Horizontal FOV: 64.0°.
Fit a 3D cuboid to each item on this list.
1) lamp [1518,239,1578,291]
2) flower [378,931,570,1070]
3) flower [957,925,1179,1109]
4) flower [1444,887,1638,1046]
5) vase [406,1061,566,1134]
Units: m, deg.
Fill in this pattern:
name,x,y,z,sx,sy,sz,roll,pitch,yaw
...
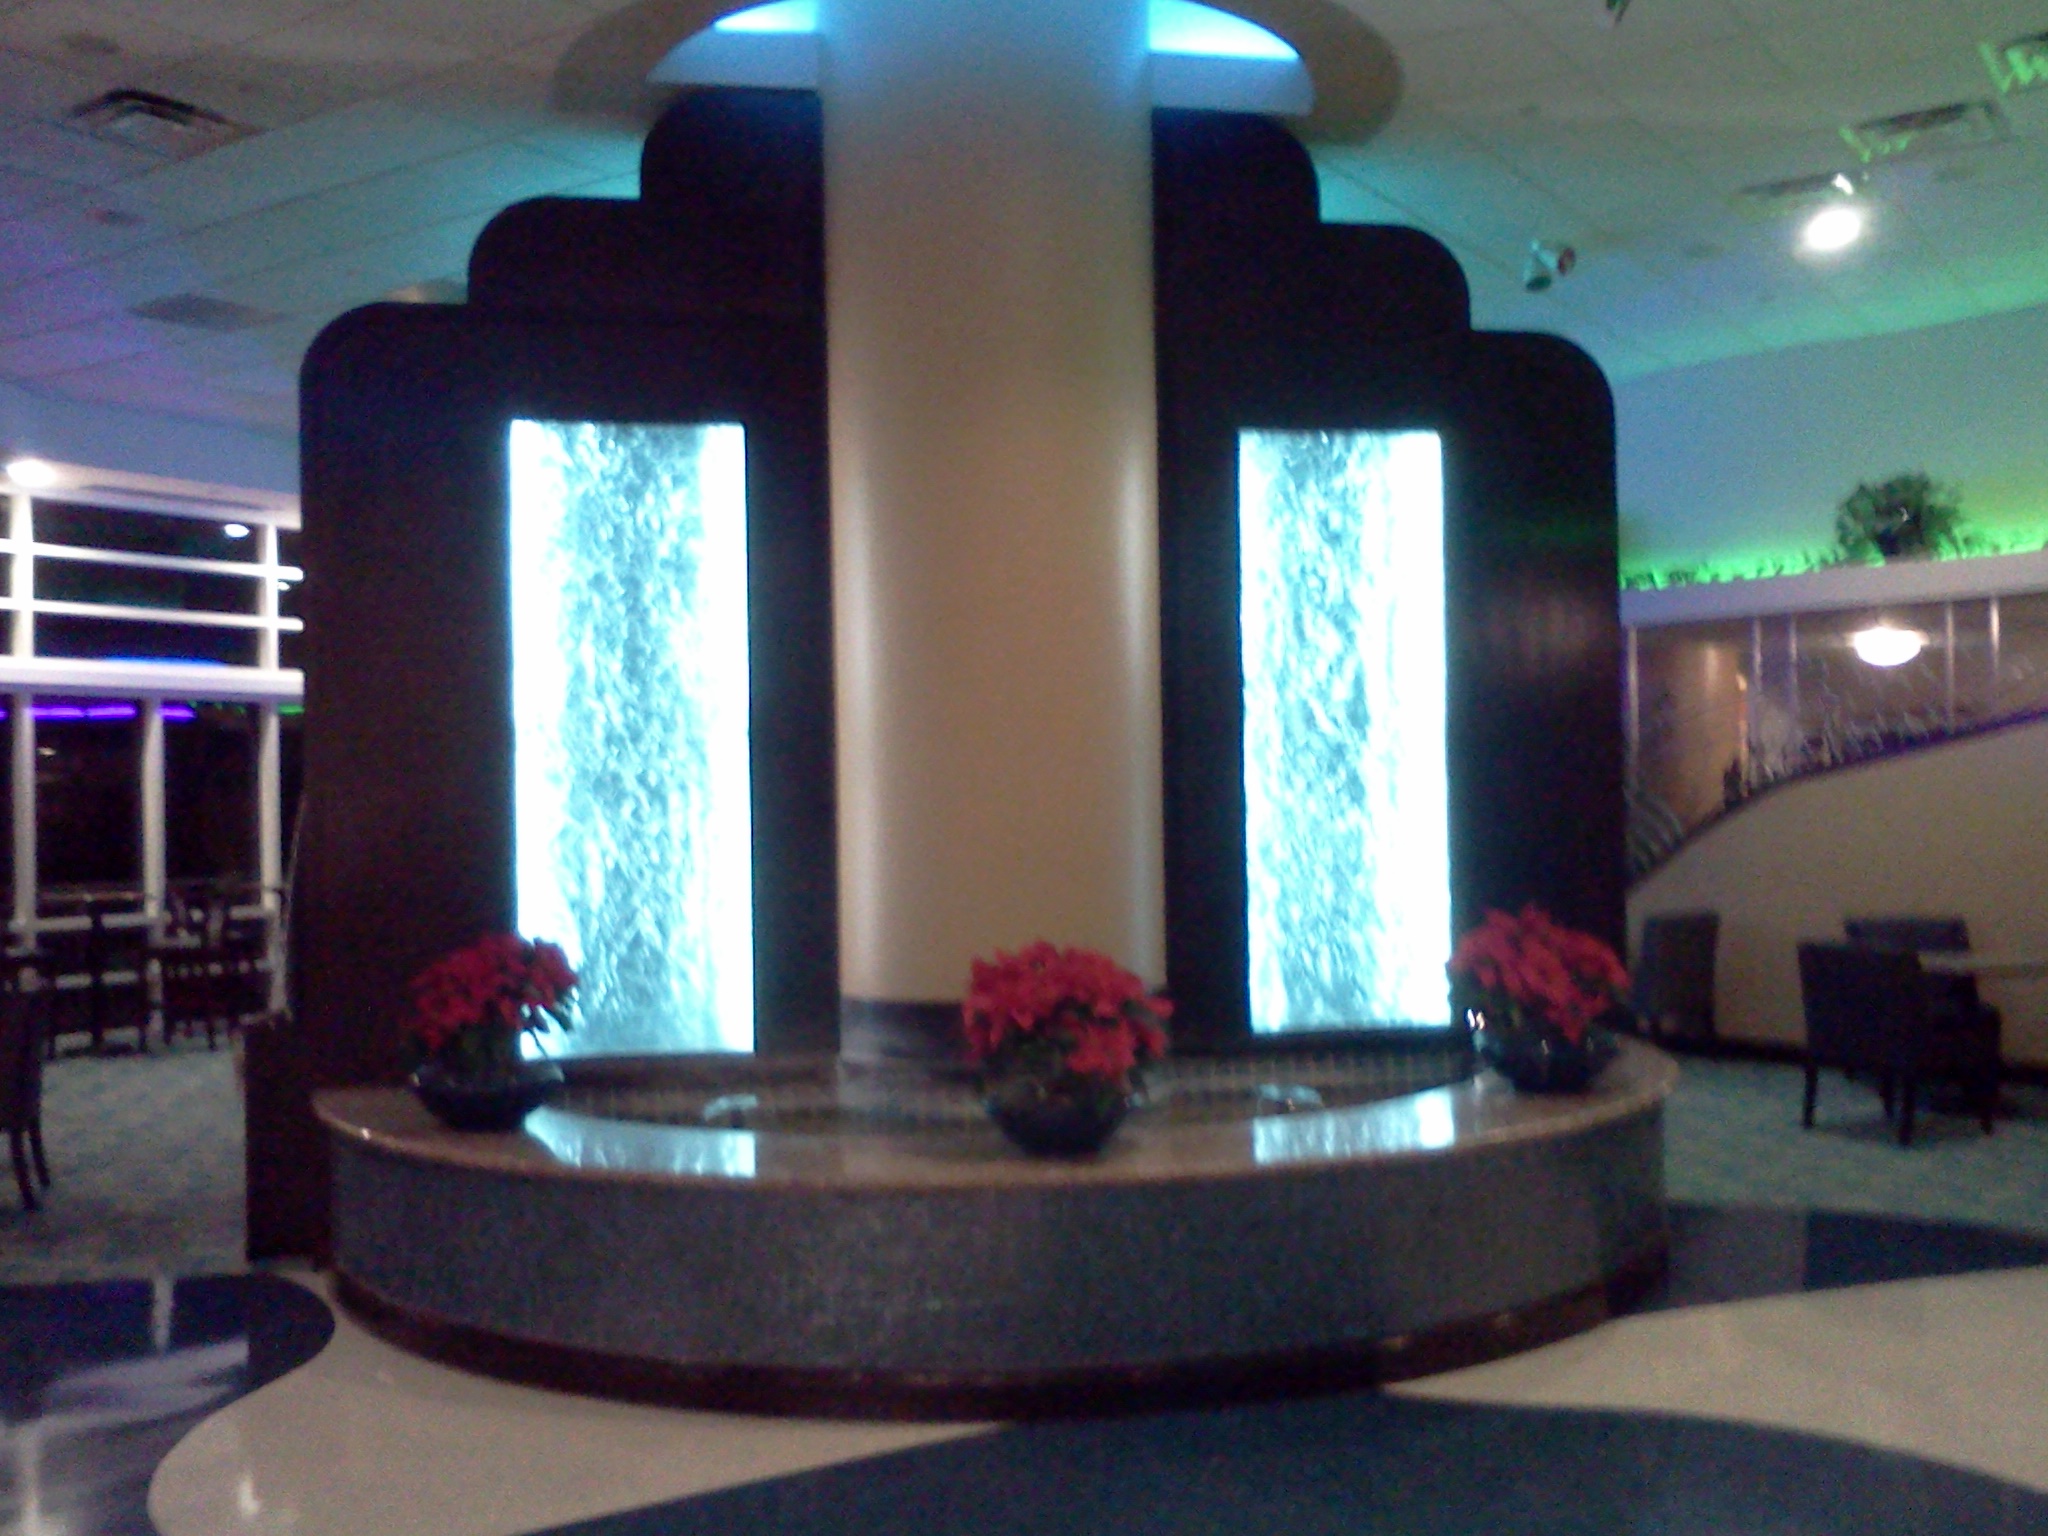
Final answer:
name,x,y,z,sx,sy,sz,roll,pitch,yaw
lamp,2.677,-2.557,8.341,0.186,0.256,0.222,37,22,24
flower,-1.826,0.791,5.633,0.460,0.467,0.464,1,-4,-18
flower,0.132,0.773,5.012,0.609,0.448,0.223,0,5,4
flower,1.834,0.698,5.770,0.486,0.355,0.418,1,7,-13
vase,-1.801,1.091,5.529,0.268,0.118,0.292,0,-1,6
